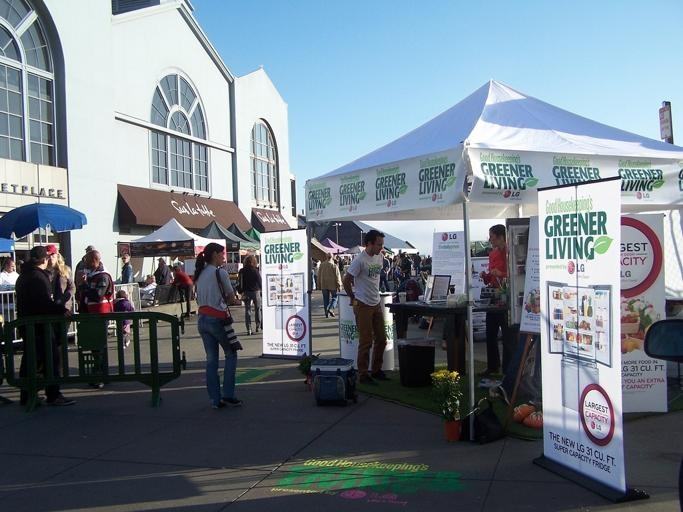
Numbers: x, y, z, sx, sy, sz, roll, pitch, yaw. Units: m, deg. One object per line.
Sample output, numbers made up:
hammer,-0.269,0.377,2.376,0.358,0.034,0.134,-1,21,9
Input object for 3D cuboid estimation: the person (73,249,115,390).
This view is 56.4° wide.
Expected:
person,-4.827,1.111,12.287,0.746,2.376,0.736,4,2,27

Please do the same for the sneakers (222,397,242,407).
sneakers,-1.743,2.317,10.147,0.288,0.158,0.120,2,1,-6

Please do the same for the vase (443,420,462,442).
vase,1.478,2.293,8.410,0.227,0.230,0.231,-3,-7,19

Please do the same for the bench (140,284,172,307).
bench,-6.000,1.273,20.798,0.700,0.500,0.701,-3,5,-34

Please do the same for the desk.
desk,1.480,1.516,11.511,1.263,1.148,1.151,5,-8,10

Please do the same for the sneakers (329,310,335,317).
sneakers,-0.306,1.925,21.431,0.093,0.299,0.132,-14,36,-6

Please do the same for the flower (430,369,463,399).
flower,1.409,1.709,8.501,0.344,0.333,0.424,-2,-2,4

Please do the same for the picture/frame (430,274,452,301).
picture/frame,1.797,0.576,11.537,0.340,0.549,0.051,5,-19,20

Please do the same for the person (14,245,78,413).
person,-4.945,1.137,10.504,0.910,2.652,0.675,-1,-2,-13

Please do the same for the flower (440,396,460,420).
flower,1.488,1.993,8.483,0.265,0.396,0.334,-4,0,24

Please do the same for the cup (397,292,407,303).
cup,1.303,0.869,13.528,0.161,0.207,0.171,1,-1,0

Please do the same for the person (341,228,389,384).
person,0.412,0.888,11.162,0.695,2.642,0.776,-2,-2,1

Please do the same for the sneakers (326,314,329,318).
sneakers,-0.441,1.978,21.176,0.089,0.150,0.081,2,-6,-11

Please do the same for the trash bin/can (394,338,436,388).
trash bin/can,1.260,1.767,11.048,0.736,0.956,0.669,1,-5,-22

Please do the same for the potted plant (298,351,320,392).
potted plant,-0.533,1.978,11.008,0.418,0.612,0.542,0,-1,-4

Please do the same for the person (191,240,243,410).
person,-1.962,1.091,10.132,0.681,2.597,0.888,-1,-2,-15
